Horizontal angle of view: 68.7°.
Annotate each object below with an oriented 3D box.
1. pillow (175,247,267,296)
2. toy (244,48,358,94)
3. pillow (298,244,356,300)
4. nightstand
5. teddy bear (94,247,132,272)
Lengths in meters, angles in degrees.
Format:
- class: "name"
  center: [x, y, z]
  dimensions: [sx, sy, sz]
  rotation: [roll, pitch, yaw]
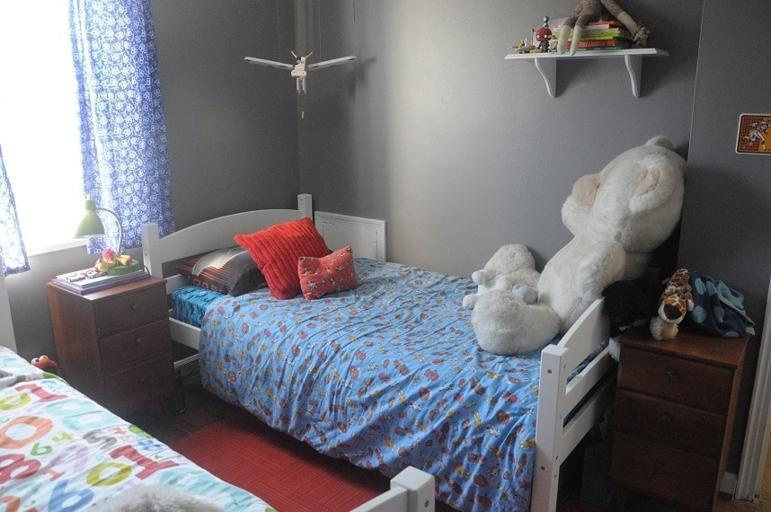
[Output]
- class: "pillow"
  center: [-1.102, 0.089, 3.735]
  dimensions: [0.393, 0.123, 0.367]
  rotation: [15, 25, 35]
- class: "toy"
  center: [-0.640, -1.400, 4.195]
  dimensions: [0.676, 0.275, 0.207]
  rotation: [-7, -14, 5]
- class: "pillow"
  center: [-0.369, 0.111, 3.700]
  dimensions: [0.169, 0.294, 0.453]
  rotation: [10, 20, 44]
- class: "nightstand"
  center: [-1.640, 0.539, 3.497]
  dimensions: [0.588, 0.817, 0.519]
  rotation: [11, 21, 31]
- class: "teddy bear"
  center: [-1.619, 0.021, 3.377]
  dimensions: [0.163, 0.083, 0.159]
  rotation: [0, 16, -30]
